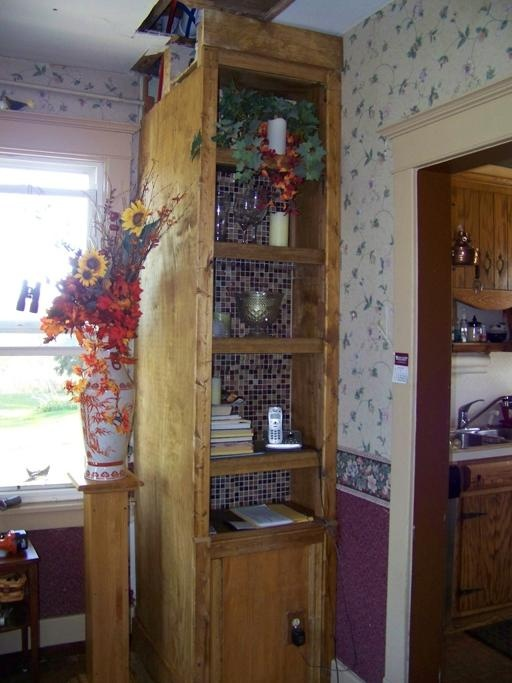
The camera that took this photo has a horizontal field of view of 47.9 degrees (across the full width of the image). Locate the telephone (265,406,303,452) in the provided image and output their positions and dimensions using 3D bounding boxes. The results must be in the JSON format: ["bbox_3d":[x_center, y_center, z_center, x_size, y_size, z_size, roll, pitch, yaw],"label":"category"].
[{"bbox_3d":[0.102,0.346,2.320,0.138,0.178,0.152,0,-9,-15],"label":"telephone"}]

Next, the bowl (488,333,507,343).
[{"bbox_3d":[1.517,-0.008,3.634,0.076,0.050,0.082,1,-4,0],"label":"bowl"}]

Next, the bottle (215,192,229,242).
[{"bbox_3d":[-0.128,-0.452,2.149,0.047,0.169,0.109,1,2,-2],"label":"bottle"}]

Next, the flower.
[{"bbox_3d":[-0.503,-0.166,2.208,0.291,0.749,0.350,5,0,5],"label":"flower"}]

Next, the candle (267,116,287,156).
[{"bbox_3d":[0.076,-0.752,2.128,0.078,0.132,0.038,1,2,-11],"label":"candle"}]

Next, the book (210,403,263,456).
[{"bbox_3d":[-0.096,0.351,2.152,0.167,0.141,0.095,1,2,-16],"label":"book"}]

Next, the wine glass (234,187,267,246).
[{"bbox_3d":[-0.027,-0.492,2.300,0.126,0.177,0.317,1,2,-2],"label":"wine glass"}]
